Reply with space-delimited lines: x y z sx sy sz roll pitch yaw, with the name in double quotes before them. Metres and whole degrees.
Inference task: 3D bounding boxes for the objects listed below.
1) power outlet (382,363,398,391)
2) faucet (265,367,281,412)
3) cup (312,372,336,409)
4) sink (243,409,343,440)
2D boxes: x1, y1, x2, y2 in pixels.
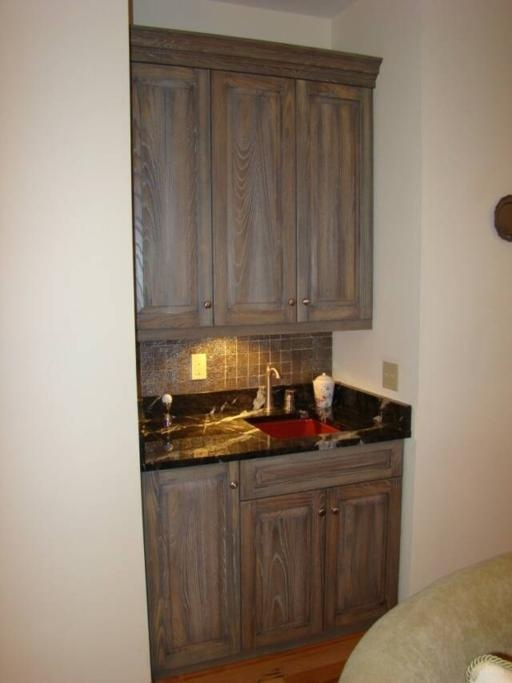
"power outlet" 0.547 0.140 2.351 0.012 0.114 0.093 -4 9 -25
"faucet" 0.075 0.207 2.612 0.072 0.195 0.157 -1 8 3
"cup" 0.313 0.224 2.667 0.100 0.155 0.129 -1 8 6
"sink" 0.168 0.369 2.513 0.393 0.112 0.188 0 8 14
